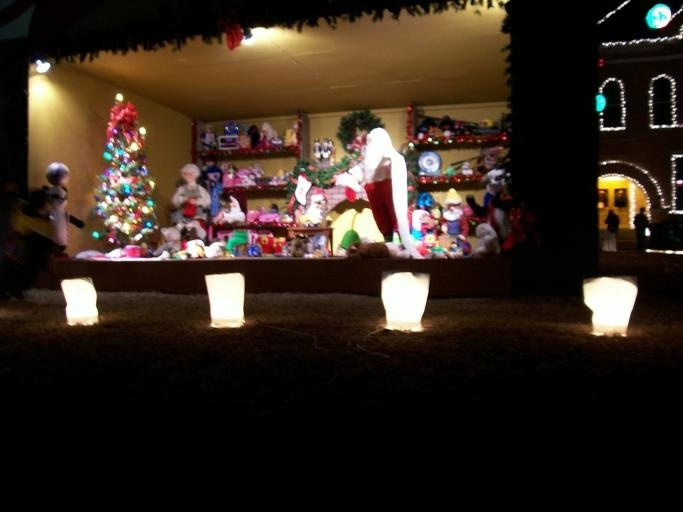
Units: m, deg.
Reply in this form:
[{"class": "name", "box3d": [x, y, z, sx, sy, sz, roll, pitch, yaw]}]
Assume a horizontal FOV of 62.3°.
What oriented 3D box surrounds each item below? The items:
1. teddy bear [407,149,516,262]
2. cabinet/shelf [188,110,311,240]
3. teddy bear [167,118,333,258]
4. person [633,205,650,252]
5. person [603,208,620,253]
[{"class": "teddy bear", "box3d": [1.117, -0.506, 5.433, 1.256, 1.239, 0.969, -2, -6, 25]}, {"class": "cabinet/shelf", "box3d": [-1.144, -1.051, 7.122, 1.731, 1.925, 0.573, 0, -2, 5]}, {"class": "teddy bear", "box3d": [-1.071, -0.848, 6.767, 1.783, 2.105, 0.633, -1, -5, 8]}, {"class": "person", "box3d": [4.580, -0.428, 8.715, 0.200, 0.671, 1.140, 5, 11, 28]}, {"class": "person", "box3d": [4.206, -0.388, 8.871, 0.174, 0.631, 0.820, 4, 11, 25]}]
